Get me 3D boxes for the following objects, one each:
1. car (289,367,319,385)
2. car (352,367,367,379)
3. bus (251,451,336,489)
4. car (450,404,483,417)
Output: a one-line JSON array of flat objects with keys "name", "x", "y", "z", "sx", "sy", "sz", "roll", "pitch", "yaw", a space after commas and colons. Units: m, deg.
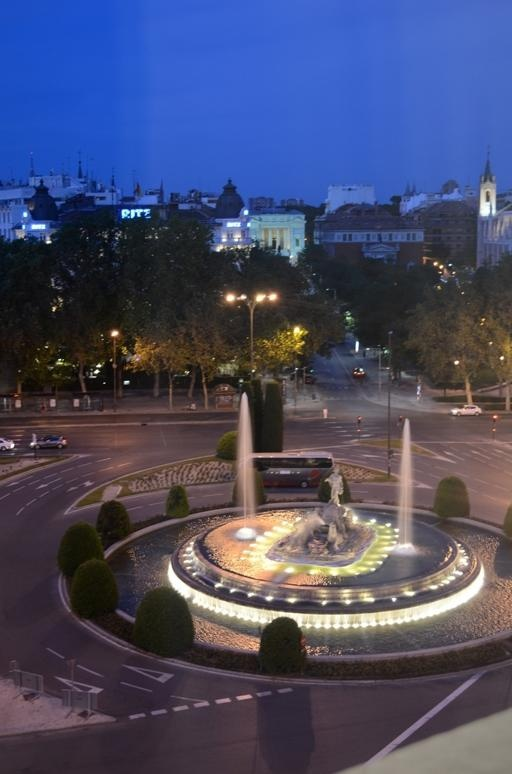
[{"name": "car", "x": 5.406, "y": -1.518, "z": 95.980, "sx": 2.933, "sy": 1.824, "sz": 1.825, "roll": -3, "pitch": 9, "yaw": 3}, {"name": "car", "x": 12.219, "y": -1.778, "z": 98.484, "sx": 0.994, "sy": 0.808, "sz": 2.348, "roll": 1, "pitch": 20, "yaw": 8}, {"name": "bus", "x": 1.775, "y": 4.120, "z": 41.443, "sx": 4.269, "sy": 1.922, "sz": 1.644, "roll": 1, "pitch": 4, "yaw": -2}, {"name": "car", "x": 17.236, "y": 1.842, "z": 67.785, "sx": 2.171, "sy": 0.876, "sz": 1.096, "roll": 2, "pitch": 4, "yaw": -2}]
